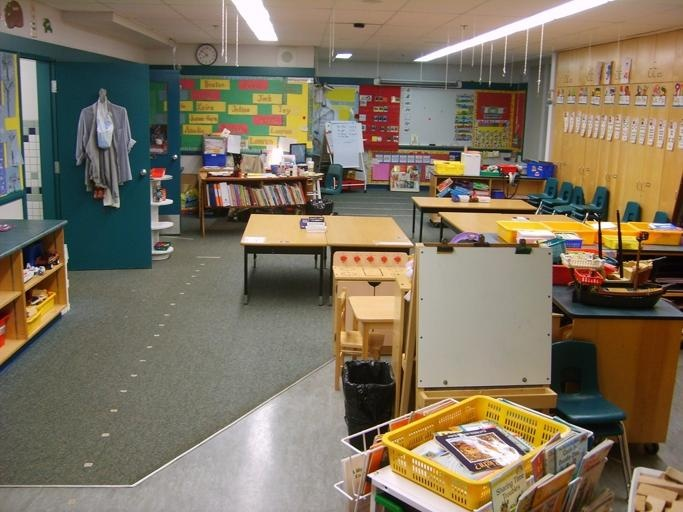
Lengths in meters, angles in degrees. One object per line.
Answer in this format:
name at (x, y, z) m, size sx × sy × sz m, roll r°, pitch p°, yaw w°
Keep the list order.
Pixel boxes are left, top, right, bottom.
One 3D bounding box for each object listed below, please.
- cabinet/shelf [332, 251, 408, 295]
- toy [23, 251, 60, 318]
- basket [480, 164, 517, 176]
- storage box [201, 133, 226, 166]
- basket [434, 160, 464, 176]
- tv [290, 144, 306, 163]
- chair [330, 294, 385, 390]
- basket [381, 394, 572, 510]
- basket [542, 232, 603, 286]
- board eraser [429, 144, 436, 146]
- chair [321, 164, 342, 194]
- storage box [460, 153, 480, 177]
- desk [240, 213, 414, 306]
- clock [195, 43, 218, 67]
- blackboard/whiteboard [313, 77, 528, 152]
cabinet/shelf at (0.308, 0.119, 5.866) m, size 0.758 × 0.408 × 0.532 m, roll 0°, pitch 9°, yaw -4°
toy at (-3.238, 0.292, 5.653) m, size 0.340 × 0.577 × 0.613 m, roll 1°, pitch 18°, yaw -8°
basket at (3.424, -1.861, 11.258) m, size 0.780 × 0.198 × 0.735 m, roll 4°, pitch 14°, yaw 19°
storage box at (-2.727, -2.299, 11.363) m, size 0.507 × 0.650 × 0.459 m, roll -5°, pitch 14°, yaw -15°
basket at (2.291, -1.883, 11.077) m, size 0.620 × 0.294 × 0.338 m, roll 3°, pitch 14°, yaw 15°
tv at (-0.976, -2.331, 11.730) m, size 0.539 × 0.561 × 0.075 m, roll -7°, pitch 8°, yaw -36°
chair at (0.157, 0.743, 4.463) m, size 0.531 × 0.909 × 0.549 m, roll -1°, pitch 22°, yaw 1°
basket at (0.561, 0.924, 2.492) m, size 0.594 × 0.119 × 0.432 m, roll -12°, pitch 15°, yaw -39°
basket at (1.935, -0.008, 4.643) m, size 0.562 × 0.269 × 0.840 m, roll -1°, pitch 12°, yaw 1°
board eraser at (2.828, -3.462, 16.103) m, size 0.122 × 0.080 × 0.112 m, roll 0°, pitch 7°, yaw 0°
chair at (-0.227, -2.004, 13.488) m, size 0.498 × 0.745 × 0.813 m, roll -1°, pitch 13°, yaw -2°
storage box at (2.725, -1.975, 11.141) m, size 0.478 × 0.652 × 0.470 m, roll -1°, pitch 8°, yaw -5°
desk at (-0.367, -0.093, 7.265) m, size 1.786 × 0.557 × 1.373 m, roll -11°, pitch 17°, yaw -21°
clock at (-2.987, -4.563, 11.693) m, size 0.445 × 0.437 × 0.061 m, roll 7°, pitch 12°, yaw -5°
blackboard/whiteboard at (3.010, -4.261, 15.964) m, size 4.711 × 2.044 × 0.652 m, roll 0°, pitch 14°, yaw 4°
